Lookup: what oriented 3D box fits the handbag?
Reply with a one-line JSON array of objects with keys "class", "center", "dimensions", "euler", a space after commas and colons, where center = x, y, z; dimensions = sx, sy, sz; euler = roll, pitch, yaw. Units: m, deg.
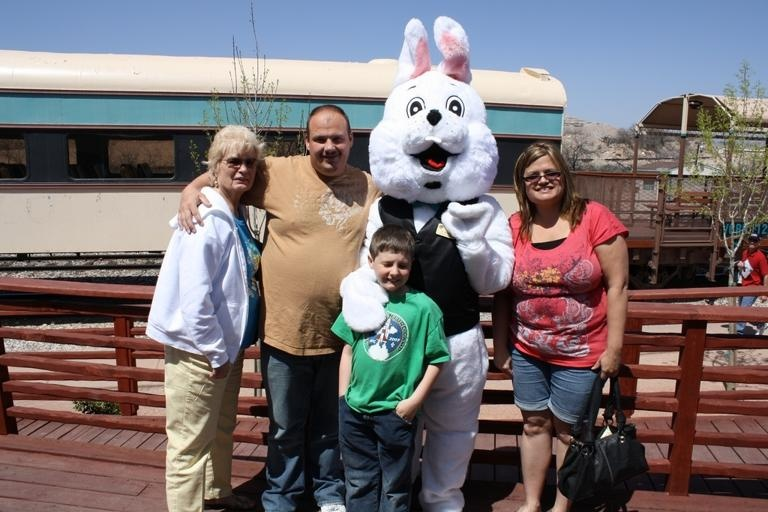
[{"class": "handbag", "center": [1.660, 1.605, 4.835], "dimensions": [0.649, 0.612, 0.314], "euler": [-13, 0, -18]}]

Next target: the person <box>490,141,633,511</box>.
[{"class": "person", "center": [1.352, 0.584, 4.887], "dimensions": [1.009, 2.920, 0.437], "euler": [0, 6, 8]}]
